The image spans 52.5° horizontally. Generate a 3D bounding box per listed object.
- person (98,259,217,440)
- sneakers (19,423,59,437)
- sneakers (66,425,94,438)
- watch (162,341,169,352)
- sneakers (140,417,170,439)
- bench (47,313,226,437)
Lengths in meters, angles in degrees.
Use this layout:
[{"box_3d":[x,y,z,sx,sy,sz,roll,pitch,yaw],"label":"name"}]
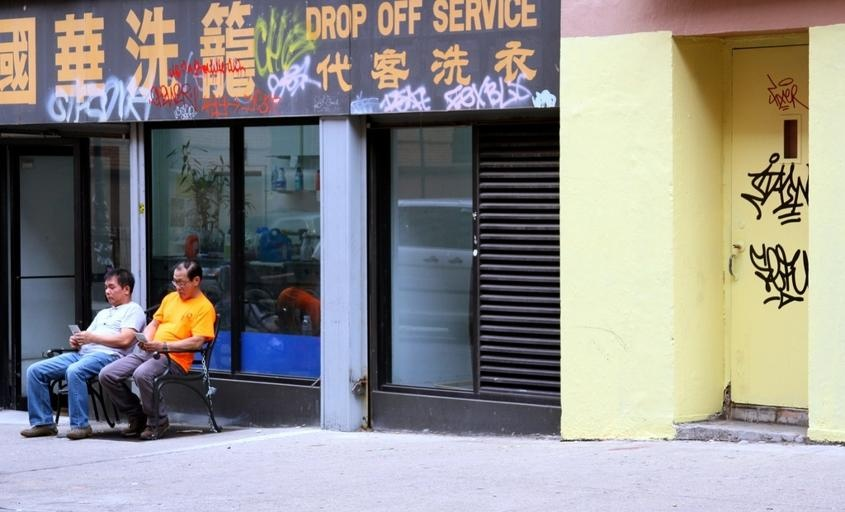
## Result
[{"box_3d":[-3.061,1.092,10.027,1.140,2.005,0.748,-1,5,17],"label":"person"},{"box_3d":[-4.519,2.052,10.139,0.416,0.170,0.158,3,-2,-15],"label":"sneakers"},{"box_3d":[-3.963,2.036,9.957,0.117,0.137,0.309,-1,-8,22],"label":"sneakers"},{"box_3d":[-2.930,1.049,9.777,0.073,0.109,0.085,-6,6,-31],"label":"watch"},{"box_3d":[-3.091,2.016,9.983,0.144,0.166,0.380,0,1,20],"label":"sneakers"},{"box_3d":[-3.655,1.457,10.778,2.500,1.439,1.047,-9,-15,42],"label":"bench"}]
